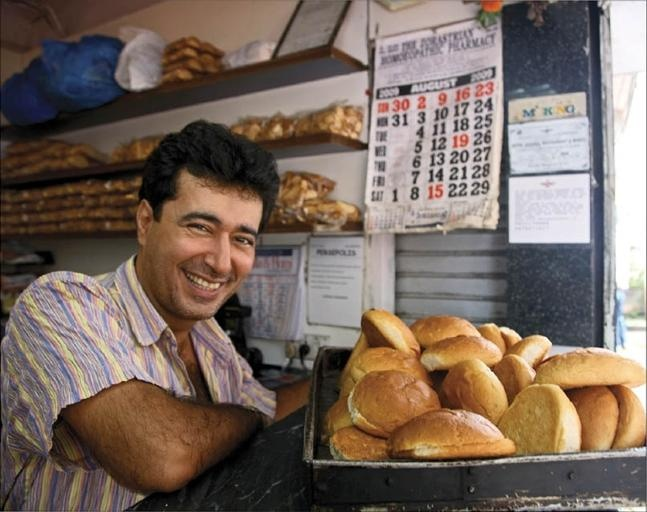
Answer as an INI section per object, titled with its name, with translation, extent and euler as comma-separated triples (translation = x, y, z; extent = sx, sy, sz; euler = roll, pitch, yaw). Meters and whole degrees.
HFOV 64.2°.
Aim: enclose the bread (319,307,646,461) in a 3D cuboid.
[bread]
translation = 0.260, 0.225, 0.901
extent = 0.509, 0.169, 0.290
euler = 3, -1, -1
